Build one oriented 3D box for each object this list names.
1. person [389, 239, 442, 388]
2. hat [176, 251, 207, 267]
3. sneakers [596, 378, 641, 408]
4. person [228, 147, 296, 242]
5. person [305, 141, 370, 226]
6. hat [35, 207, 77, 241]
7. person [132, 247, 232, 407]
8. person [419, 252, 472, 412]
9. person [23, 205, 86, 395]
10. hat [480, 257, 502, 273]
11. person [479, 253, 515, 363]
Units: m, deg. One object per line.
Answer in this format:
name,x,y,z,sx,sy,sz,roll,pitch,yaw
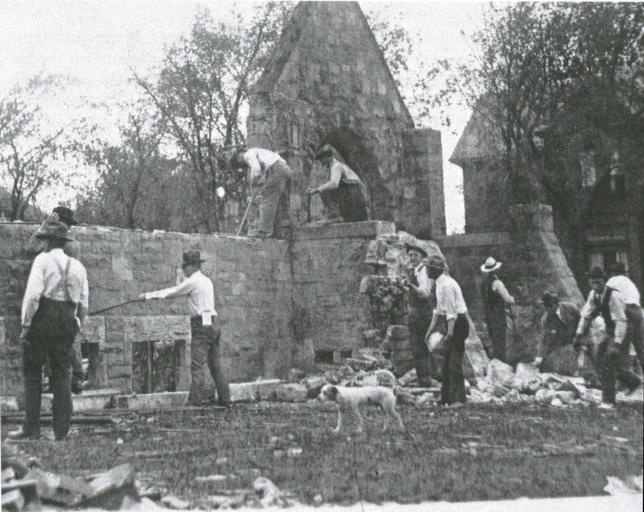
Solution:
person,1.055,0.719,11.481,0.472,1.666,0.635,2,-32,4
hat,-1.378,0.024,10.856,0.142,0.112,0.206,-2,-7,25
sneakers,3.113,1.455,10.597,0.455,0.265,0.128,-5,-8,12
person,-0.738,-0.779,12.776,0.712,1.209,0.505,-1,-8,-12
person,0.240,-0.928,13.186,0.698,1.023,0.442,-3,-8,0
hat,-2.681,-0.335,10.248,0.316,0.153,0.386,-6,-21,-42
person,-1.491,0.729,10.927,0.851,1.690,0.763,-10,17,-31
person,1.387,0.793,11.237,0.502,1.678,0.314,-3,-7,7
person,-2.780,0.725,10.354,0.651,2.366,0.635,1,-2,40
hat,1.947,0.117,11.722,0.175,0.073,0.167,-41,37,-16
person,2.016,0.598,11.573,0.378,1.214,0.232,-4,-7,10
